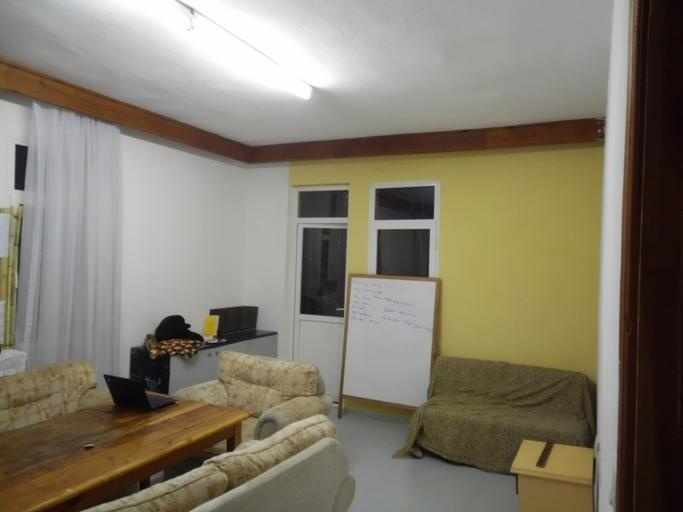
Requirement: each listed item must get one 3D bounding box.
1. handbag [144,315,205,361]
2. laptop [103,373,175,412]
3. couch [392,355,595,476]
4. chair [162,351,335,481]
[{"bbox_3d":[-1.644,0.788,4.799,0.370,0.177,0.445,2,-2,-40],"label":"handbag"},{"bbox_3d":[-1.302,0.896,3.204,0.336,0.216,0.257,-1,-2,31],"label":"laptop"},{"bbox_3d":[1.412,1.424,4.378,1.521,0.866,0.978,7,3,29],"label":"couch"},{"bbox_3d":[-0.640,1.040,3.731,0.954,0.785,0.718,-5,-11,29],"label":"chair"}]
